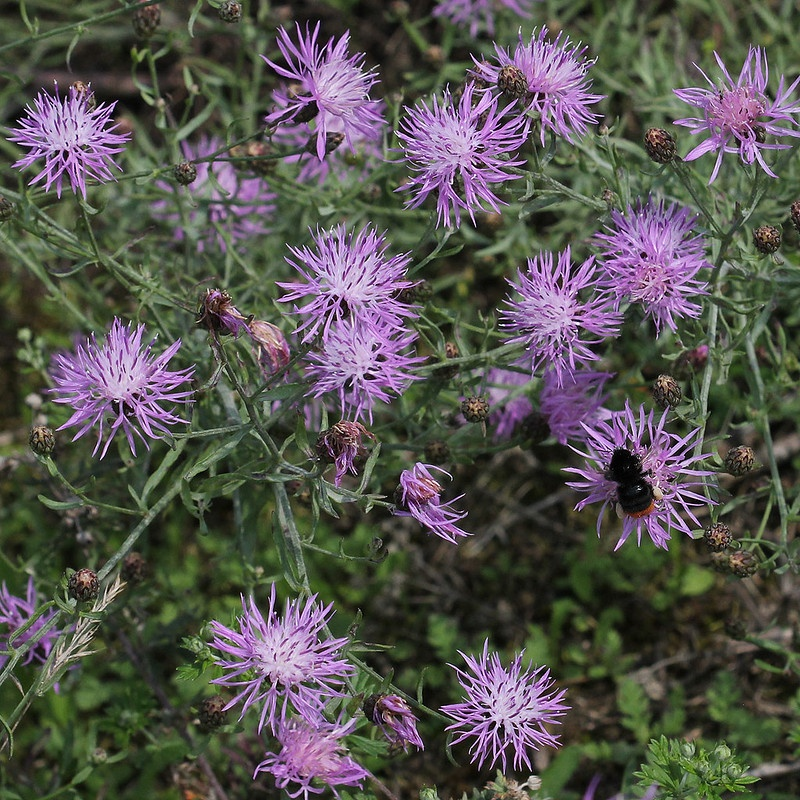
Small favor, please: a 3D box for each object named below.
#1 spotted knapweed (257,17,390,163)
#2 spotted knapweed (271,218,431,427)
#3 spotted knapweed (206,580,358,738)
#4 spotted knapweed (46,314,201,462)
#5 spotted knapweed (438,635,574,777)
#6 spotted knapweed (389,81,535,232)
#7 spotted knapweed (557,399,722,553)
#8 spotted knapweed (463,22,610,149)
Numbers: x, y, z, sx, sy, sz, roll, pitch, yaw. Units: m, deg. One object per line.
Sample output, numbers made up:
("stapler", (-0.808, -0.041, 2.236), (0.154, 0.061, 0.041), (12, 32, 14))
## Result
("spotted knapweed", (-0.168, -0.647, 2.053), (0.212, 0.165, 0.192), (18, 85, -26))
("spotted knapweed", (-0.122, -0.221, 2.084), (0.291, 0.339, 0.296), (-4, 85, 10))
("spotted knapweed", (-0.225, 0.487, 1.960), (0.268, 0.263, 0.156), (4, 87, -30))
("spotted knapweed", (-0.601, -0.021, 2.183), (0.334, 0.210, 0.316), (18, 37, 15))
("spotted knapweed", (0.208, 0.597, 2.039), (0.240, 0.225, 0.132), (10, 99, -9))
("spotted knapweed", (0.119, -0.569, 2.060), (0.281, 0.259, 0.151), (2, 92, 9))
("spotted knapweed", (0.484, 0.157, 2.023), (0.363, 0.337, 0.115), (-9, 104, -1))
("spotted knapweed", (0.283, -0.726, 2.081), (0.238, 0.130, 0.249), (22, 43, 36))
